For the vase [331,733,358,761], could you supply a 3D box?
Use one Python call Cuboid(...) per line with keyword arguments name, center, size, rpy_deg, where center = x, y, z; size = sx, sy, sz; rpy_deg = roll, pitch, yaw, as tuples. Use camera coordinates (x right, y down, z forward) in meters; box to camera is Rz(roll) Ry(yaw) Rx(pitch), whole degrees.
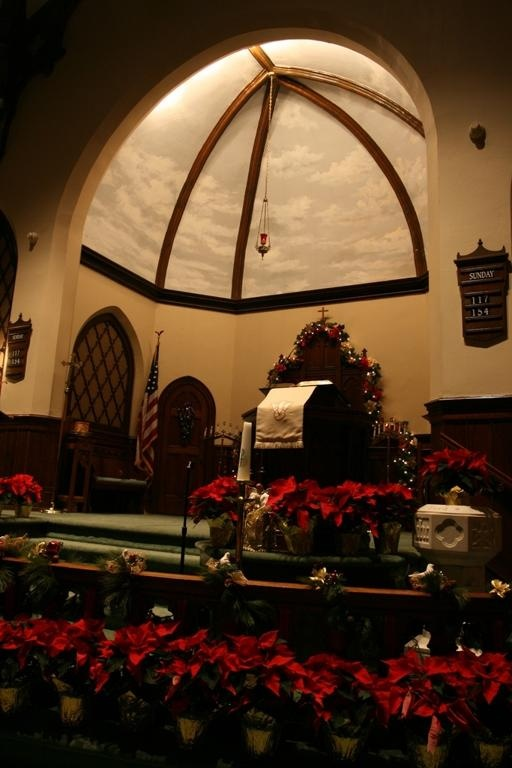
Cuboid(name="vase", center=(0.243, 0.991, 1.608), size=(0.057, 0.052, 0.063), rpy_deg=(2, -25, 8))
